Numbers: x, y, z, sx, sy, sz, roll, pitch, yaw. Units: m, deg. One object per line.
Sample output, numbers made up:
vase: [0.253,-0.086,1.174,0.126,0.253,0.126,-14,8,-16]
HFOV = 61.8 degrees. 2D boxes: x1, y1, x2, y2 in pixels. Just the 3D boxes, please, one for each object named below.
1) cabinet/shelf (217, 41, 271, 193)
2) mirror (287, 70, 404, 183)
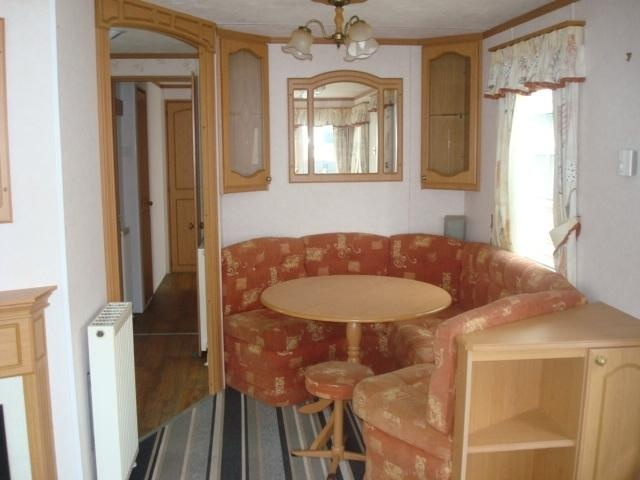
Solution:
cabinet/shelf: [-0.645,-1.038,4.498,0.206,1.252,0.659,6,15,29]
mirror: [0.191,-1.072,4.845,0.966,0.952,0.052,0,6,-6]
